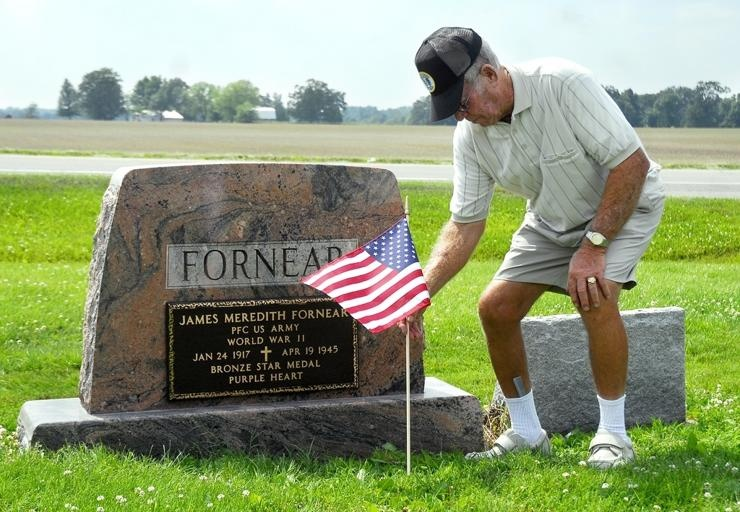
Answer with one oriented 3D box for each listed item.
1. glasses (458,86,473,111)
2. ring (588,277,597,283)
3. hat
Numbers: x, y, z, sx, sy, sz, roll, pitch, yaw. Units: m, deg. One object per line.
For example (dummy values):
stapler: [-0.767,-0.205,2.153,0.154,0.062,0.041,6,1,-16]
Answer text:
glasses: [0.727,-1.182,7.789,0.040,0.143,0.130,18,-11,-27]
ring: [1.640,0.175,7.658,0.032,0.046,0.011,5,-1,9]
hat: [0.605,-1.374,7.846,0.415,0.697,0.351,-7,9,-36]
